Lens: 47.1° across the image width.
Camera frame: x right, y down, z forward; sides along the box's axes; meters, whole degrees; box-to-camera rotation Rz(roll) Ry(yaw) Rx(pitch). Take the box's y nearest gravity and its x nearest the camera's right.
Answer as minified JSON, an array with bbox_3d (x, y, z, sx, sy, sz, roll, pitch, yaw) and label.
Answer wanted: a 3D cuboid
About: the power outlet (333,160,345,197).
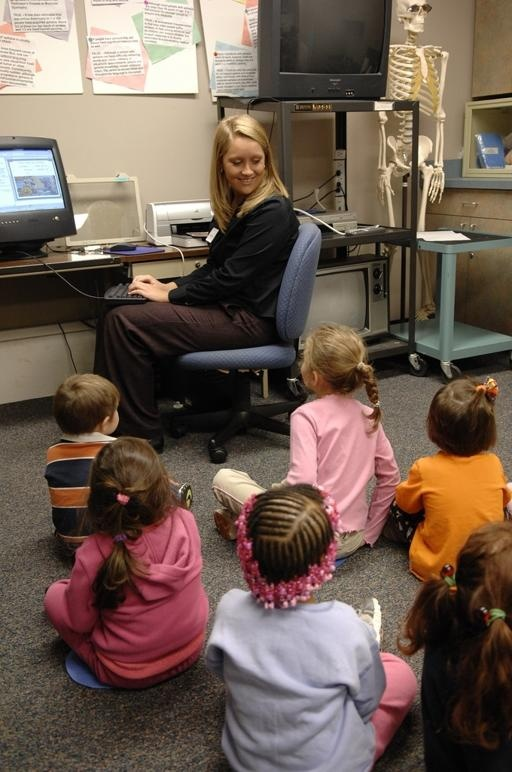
[{"bbox_3d":[0.462,-1.155,3.248,0.056,0.183,0.074,-3,14,3],"label":"power outlet"}]

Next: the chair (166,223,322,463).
[{"bbox_3d":[-0.046,-0.222,2.326,0.553,0.886,0.516,5,13,14],"label":"chair"}]

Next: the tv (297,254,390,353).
[{"bbox_3d":[0.417,-0.429,3.052,0.501,0.481,0.263,-13,27,-9],"label":"tv"}]

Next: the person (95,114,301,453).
[{"bbox_3d":[-0.230,-0.362,2.267,0.694,1.280,0.485,3,12,-16],"label":"person"}]
